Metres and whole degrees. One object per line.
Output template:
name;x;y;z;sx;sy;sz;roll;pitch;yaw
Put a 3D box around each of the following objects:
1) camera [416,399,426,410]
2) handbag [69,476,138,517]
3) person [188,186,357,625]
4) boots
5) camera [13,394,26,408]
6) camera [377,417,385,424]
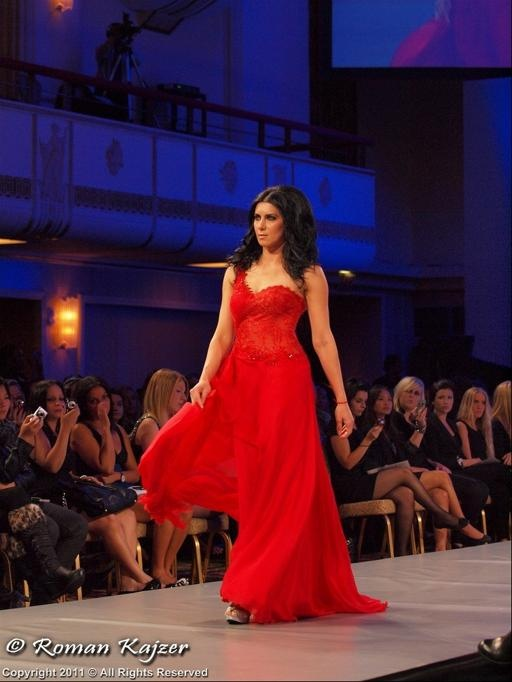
camera;1.296;0.494;5.431;0.060;0.050;0.057;1;0;-14
handbag;-0.779;0.728;3.385;0.242;0.078;0.195;9;7;32
person;0.073;0.195;2.473;0.606;1.458;0.449;0;-5;-11
boots;-0.895;0.971;3.098;0.267;0.334;0.274;0;-5;-13
camera;-1.461;0.370;4.319;0.061;0.044;0.073;0;5;-2
camera;0.845;0.541;4.696;0.055;0.037;0.065;-21;-2;-19
